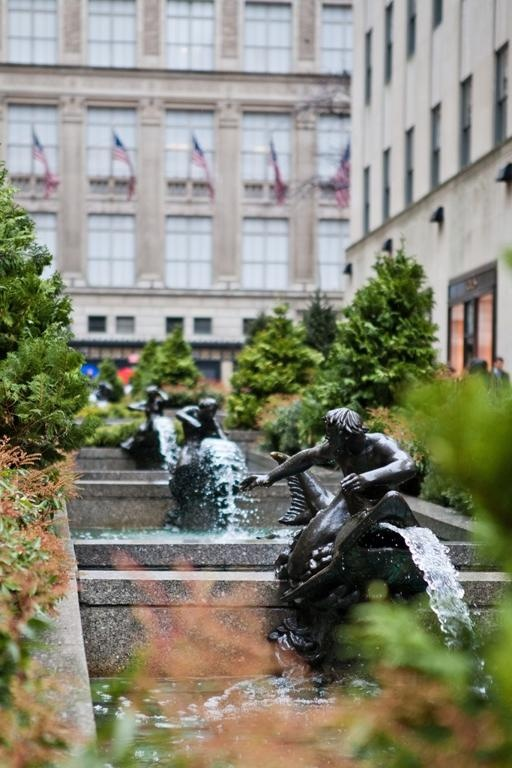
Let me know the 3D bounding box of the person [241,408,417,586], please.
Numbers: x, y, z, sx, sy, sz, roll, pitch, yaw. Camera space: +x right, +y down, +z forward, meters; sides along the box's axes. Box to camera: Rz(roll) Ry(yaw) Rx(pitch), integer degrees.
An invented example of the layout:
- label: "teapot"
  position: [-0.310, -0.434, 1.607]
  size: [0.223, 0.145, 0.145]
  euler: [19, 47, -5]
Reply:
- label: "person"
  position: [0.301, 0.487, 5.771]
  size: [0.551, 0.782, 1.365]
  euler: [1, 2, -11]

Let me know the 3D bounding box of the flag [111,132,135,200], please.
- label: "flag"
  position: [-4.793, -8.141, 47.616]
  size: [0.888, 2.529, 2.945]
  euler: [1, 2, -7]

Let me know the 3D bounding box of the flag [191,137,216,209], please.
- label: "flag"
  position: [-2.007, -7.921, 48.593]
  size: [0.161, 3.459, 0.975]
  euler: [-20, 36, -8]

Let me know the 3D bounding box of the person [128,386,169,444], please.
- label: "person"
  position: [-1.361, 0.373, 16.676]
  size: [0.404, 0.710, 1.533]
  euler: [1, 2, -5]

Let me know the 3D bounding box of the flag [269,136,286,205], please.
- label: "flag"
  position: [0.776, -8.002, 48.928]
  size: [0.650, 2.290, 2.183]
  euler: [1, 2, 4]

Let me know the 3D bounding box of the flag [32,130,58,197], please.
- label: "flag"
  position: [-7.792, -8.166, 47.610]
  size: [0.975, 2.472, 2.536]
  euler: [1, 2, -1]

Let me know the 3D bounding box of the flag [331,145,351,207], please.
- label: "flag"
  position: [3.138, -7.564, 49.067]
  size: [0.626, 1.654, 1.446]
  euler: [1, 2, -4]
